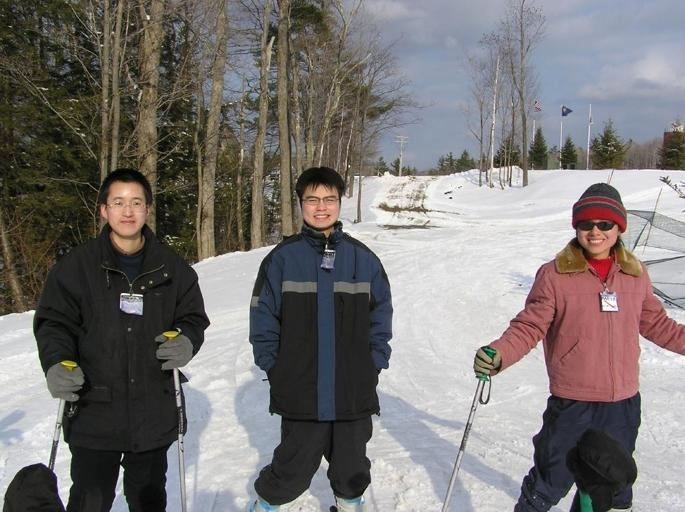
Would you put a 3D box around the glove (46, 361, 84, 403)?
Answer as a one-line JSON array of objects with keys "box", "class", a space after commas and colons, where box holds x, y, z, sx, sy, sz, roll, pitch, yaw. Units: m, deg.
[{"box": [-2.066, 0.933, 4.728, 0.224, 0.308, 0.159, 1, -1, 1], "class": "glove"}]

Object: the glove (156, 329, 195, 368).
[{"box": [-1.328, 0.765, 4.988, 0.290, 0.344, 0.181, -3, 9, -14], "class": "glove"}]

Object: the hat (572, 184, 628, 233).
[{"box": [2.212, -0.395, 5.442, 0.393, 0.430, 0.439, 4, -3, 15], "class": "hat"}]

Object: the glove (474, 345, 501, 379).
[{"box": [1.170, 0.883, 5.154, 0.224, 0.287, 0.126, -1, 9, -1], "class": "glove"}]
